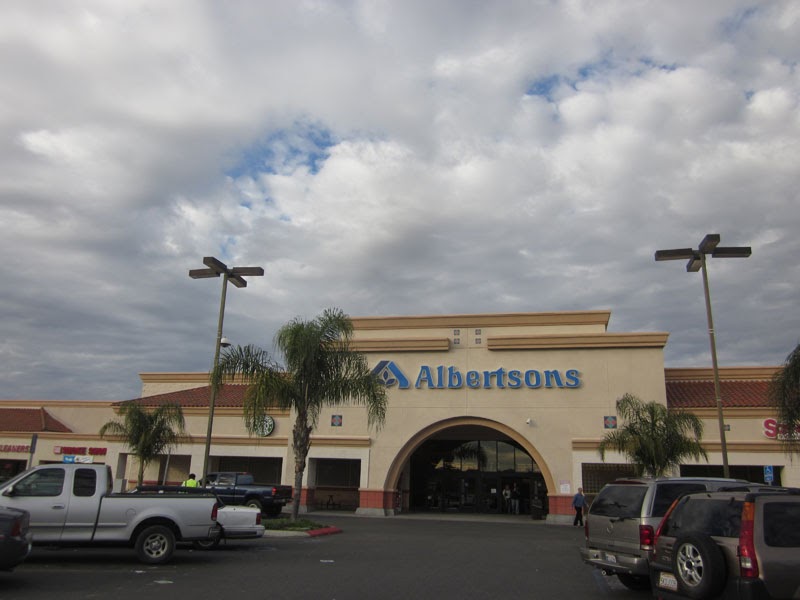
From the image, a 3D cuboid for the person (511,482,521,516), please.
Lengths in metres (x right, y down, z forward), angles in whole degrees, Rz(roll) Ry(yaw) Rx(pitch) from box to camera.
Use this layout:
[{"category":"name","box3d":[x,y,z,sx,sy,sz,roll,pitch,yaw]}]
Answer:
[{"category":"person","box3d":[7.378,12.833,36.384,0.522,1.846,0.356,1,-18,2]}]

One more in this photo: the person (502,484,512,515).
[{"category":"person","box3d":[6.773,12.912,36.461,0.674,1.667,0.390,-12,-22,35]}]
